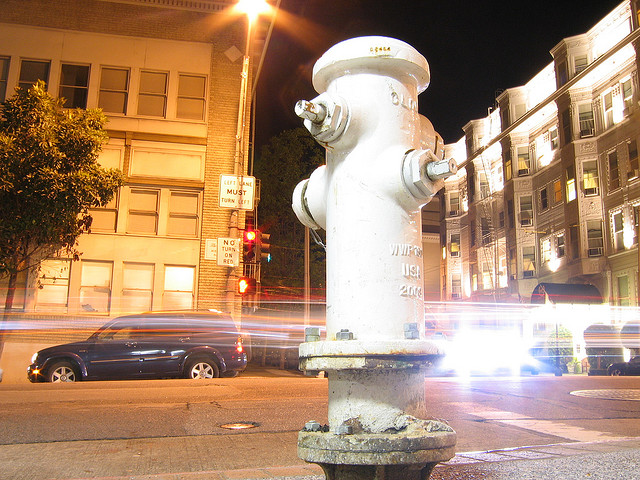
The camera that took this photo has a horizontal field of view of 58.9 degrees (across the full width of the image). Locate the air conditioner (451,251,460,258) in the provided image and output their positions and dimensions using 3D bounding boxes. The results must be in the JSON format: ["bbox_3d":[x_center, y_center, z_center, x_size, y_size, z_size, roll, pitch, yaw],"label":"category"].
[{"bbox_3d":[12.902,1.311,53.544,0.708,0.758,0.407,1,-9,8],"label":"air conditioner"}]

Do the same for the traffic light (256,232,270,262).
[{"bbox_3d":[-1.827,0.230,18.184,0.423,0.895,0.795,0,-12,-6],"label":"traffic light"}]

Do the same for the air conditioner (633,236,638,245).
[{"bbox_3d":[16.557,0.009,29.545,0.288,0.352,0.284,2,1,33],"label":"air conditioner"}]

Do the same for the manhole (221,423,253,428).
[{"bbox_3d":[-1.401,3.114,9.528,0.492,0.048,0.371,0,-13,-10],"label":"manhole"}]

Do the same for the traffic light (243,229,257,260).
[{"bbox_3d":[-2.202,0.139,18.008,0.398,0.949,0.946,0,-12,-9],"label":"traffic light"}]

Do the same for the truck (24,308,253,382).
[{"bbox_3d":[-4.972,3.213,16.528,5.242,2.355,2.623,3,-13,-6],"label":"truck"}]

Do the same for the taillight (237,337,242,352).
[{"bbox_3d":[-2.297,2.988,16.223,0.157,0.407,0.044,8,-14,-38],"label":"taillight"}]

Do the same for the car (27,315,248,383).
[{"bbox_3d":[-4.899,3.261,16.418,5.017,2.224,2.487,3,-13,-6],"label":"car"}]

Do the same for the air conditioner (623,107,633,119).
[{"bbox_3d":[16.901,-7.015,30.878,0.378,0.604,0.790,3,-3,6],"label":"air conditioner"}]
